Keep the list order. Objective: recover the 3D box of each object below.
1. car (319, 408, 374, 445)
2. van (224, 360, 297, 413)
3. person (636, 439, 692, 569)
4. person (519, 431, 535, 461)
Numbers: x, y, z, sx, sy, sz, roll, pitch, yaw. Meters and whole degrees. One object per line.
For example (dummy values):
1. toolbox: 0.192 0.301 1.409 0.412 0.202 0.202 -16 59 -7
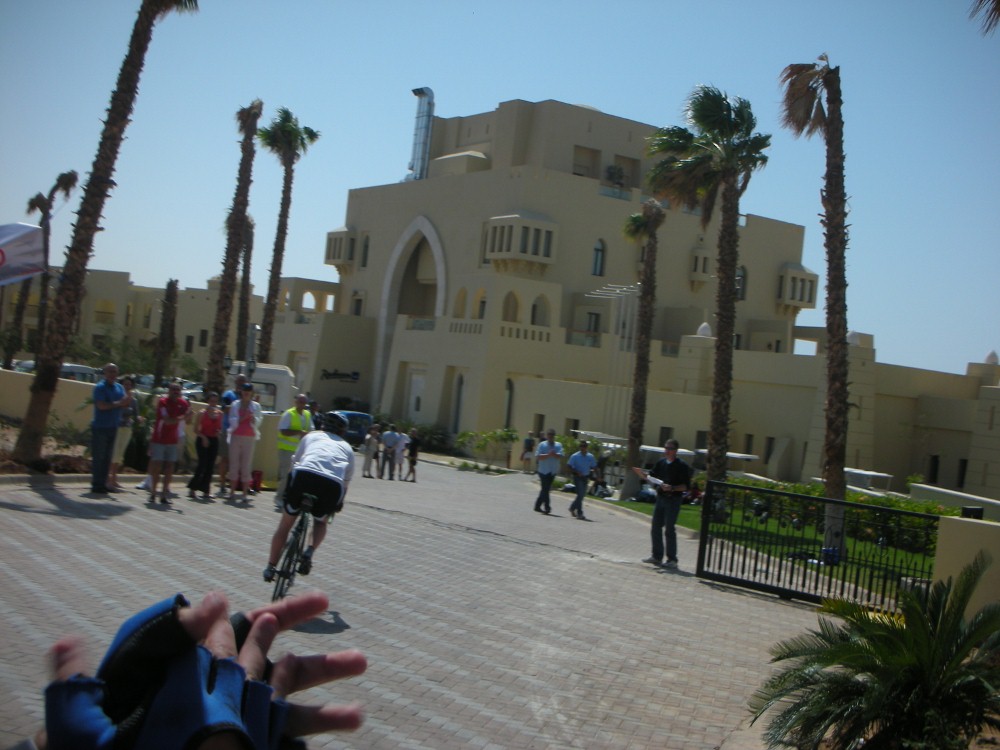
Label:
1. car: -8.324 3.272 43.928 2.279 2.018 3.945 1 12 -33
2. van: -7.362 0.241 24.728 1.861 1.968 3.258 2 5 0
3. person: 3.148 2.441 14.840 0.777 2.410 0.742 6 -5 12
4. person: 1.499 3.836 42.188 0.588 1.535 2.148 7 -5 0
